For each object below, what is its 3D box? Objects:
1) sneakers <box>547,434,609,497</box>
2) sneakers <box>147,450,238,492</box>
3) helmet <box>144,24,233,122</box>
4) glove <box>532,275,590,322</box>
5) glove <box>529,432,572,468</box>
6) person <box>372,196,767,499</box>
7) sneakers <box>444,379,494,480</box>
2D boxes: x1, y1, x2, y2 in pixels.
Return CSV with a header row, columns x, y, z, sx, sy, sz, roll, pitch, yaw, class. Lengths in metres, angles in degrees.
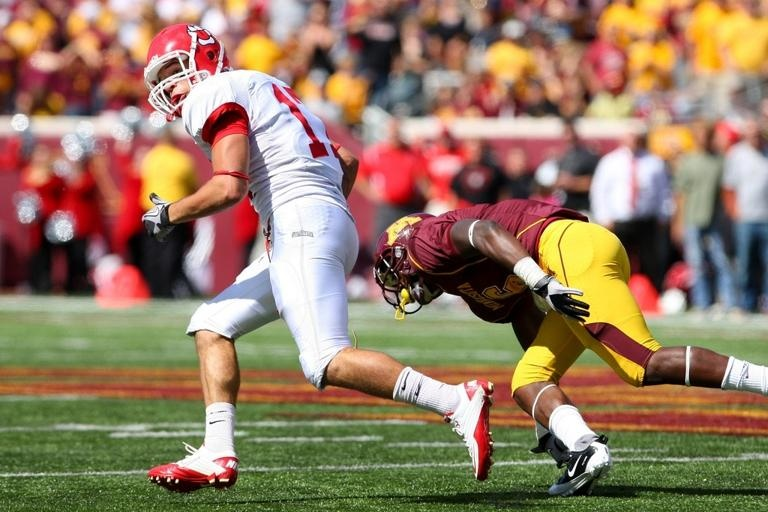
x,y,z,sx,sy,sz,roll,pitch,yaw,class
0.929,0.985,4.860,0.293,0.297,0.140,1,4,21,sneakers
-0.863,1.017,4.904,0.466,0.169,0.218,2,44,-1,sneakers
-0.997,-0.943,5.362,0.478,0.442,0.375,-27,-8,-15,helmet
0.803,0.189,4.690,0.265,0.152,0.108,37,-2,15,glove
0.818,0.975,5.134,0.190,0.139,0.101,46,35,17,glove
0.761,0.466,5.285,2.144,1.454,1.076,-9,-25,16,person
0.400,0.829,4.826,0.217,0.503,0.210,0,4,3,sneakers
